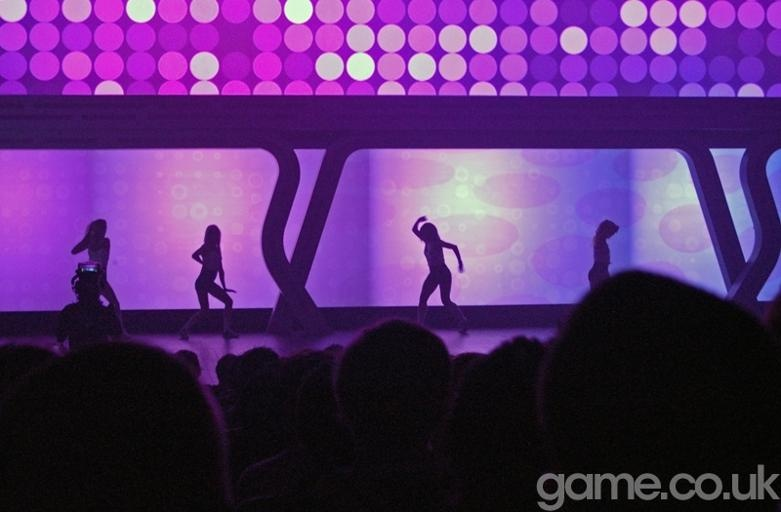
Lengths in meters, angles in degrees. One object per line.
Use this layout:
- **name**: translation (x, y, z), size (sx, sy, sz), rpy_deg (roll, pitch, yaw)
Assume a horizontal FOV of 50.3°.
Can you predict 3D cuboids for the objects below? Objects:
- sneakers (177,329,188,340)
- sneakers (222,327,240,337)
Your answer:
- **sneakers**: translation (-2.896, 1.091, 11.536), size (0.162, 0.146, 0.131), rpy_deg (-1, 0, 8)
- **sneakers**: translation (-2.221, 1.072, 11.677), size (0.286, 0.194, 0.107), rpy_deg (-2, 2, -18)
